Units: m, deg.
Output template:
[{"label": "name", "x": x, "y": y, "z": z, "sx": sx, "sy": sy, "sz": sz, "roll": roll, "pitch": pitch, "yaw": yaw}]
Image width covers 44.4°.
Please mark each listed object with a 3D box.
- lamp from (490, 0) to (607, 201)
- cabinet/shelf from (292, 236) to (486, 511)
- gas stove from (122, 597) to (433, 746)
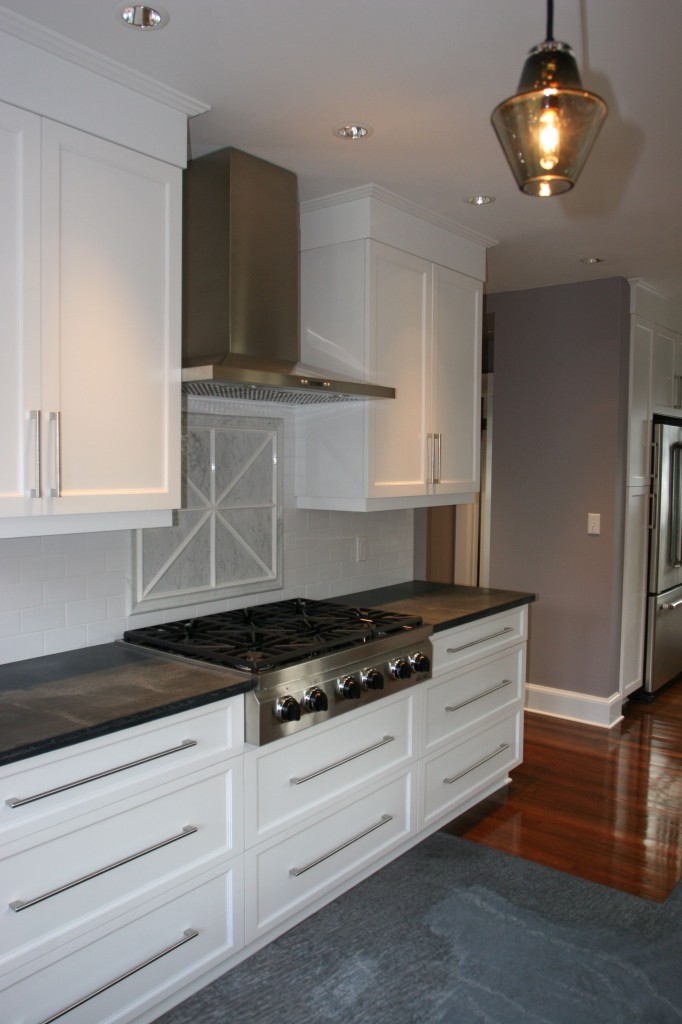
[{"label": "lamp", "x": 0.317, "y": -0.612, "z": 1.284, "sx": 0.169, "sy": 0.203, "sz": 0.147, "roll": -1, "pitch": 2, "yaw": 17}, {"label": "cabinet/shelf", "x": 0.152, "y": -0.532, "z": 3.115, "sx": 0.449, "sy": 1.177, "sz": 1.054, "roll": 1, "pitch": 4, "yaw": 33}, {"label": "gas stove", "x": -0.179, "y": 0.460, "z": 2.363, "sx": 0.362, "sy": 0.139, "sz": 0.537, "roll": 1, "pitch": 4, "yaw": 33}]
